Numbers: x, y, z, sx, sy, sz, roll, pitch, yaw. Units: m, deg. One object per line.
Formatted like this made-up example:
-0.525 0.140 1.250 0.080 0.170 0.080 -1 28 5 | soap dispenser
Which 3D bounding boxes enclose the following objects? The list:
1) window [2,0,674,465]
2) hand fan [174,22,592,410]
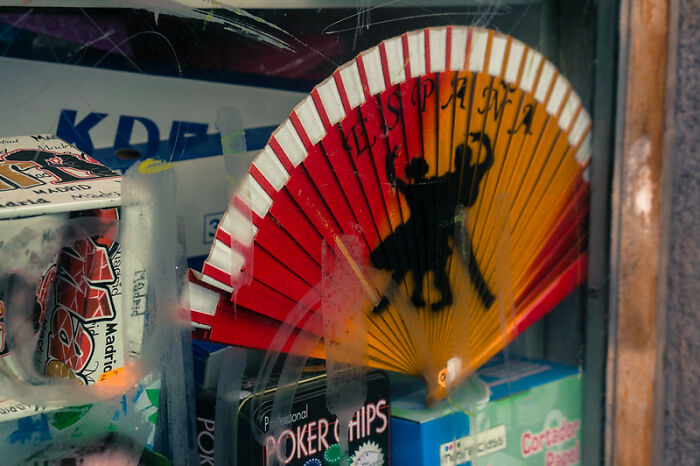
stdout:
-0.042 -0.024 1.516 0.948 0.915 0.062 -3 4 -10 | window
0.044 -0.050 1.570 0.698 0.517 0.082 -27 19 -18 | hand fan
